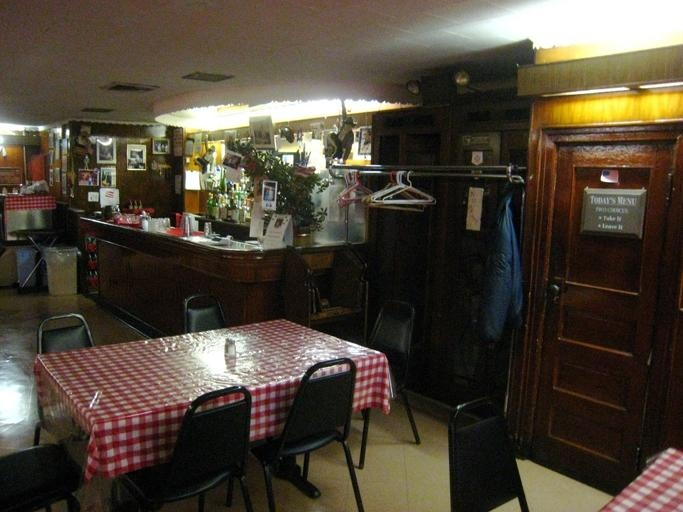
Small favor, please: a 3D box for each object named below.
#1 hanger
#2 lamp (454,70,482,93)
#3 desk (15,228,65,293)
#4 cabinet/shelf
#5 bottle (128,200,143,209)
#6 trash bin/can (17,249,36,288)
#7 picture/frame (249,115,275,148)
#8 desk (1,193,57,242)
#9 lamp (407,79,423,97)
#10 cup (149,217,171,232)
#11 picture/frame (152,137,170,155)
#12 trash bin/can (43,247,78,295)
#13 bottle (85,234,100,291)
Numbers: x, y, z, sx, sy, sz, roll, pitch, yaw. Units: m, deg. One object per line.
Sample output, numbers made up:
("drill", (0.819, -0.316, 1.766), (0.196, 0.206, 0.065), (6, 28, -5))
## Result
("hanger", (0.489, -0.529, 4.773), (0.696, 0.255, 0.488), (0, 5, -32))
("lamp", (1.062, -1.486, 4.485), (0.214, 0.178, 0.110), (8, 13, 23))
("desk", (-5.563, 0.119, 9.303), (1.062, 1.176, 0.980), (4, -1, -41))
("cabinet/shelf", (-0.180, 0.357, 5.033), (0.928, 1.317, 0.652), (-3, 5, -35))
("bottle", (-3.689, -0.916, 9.345), (0.187, 0.174, 0.253), (0, 2, 44))
("trash bin/can", (-5.429, 0.185, 9.056), (0.281, 0.638, 0.201), (-5, 14, -31))
("picture/frame", (-0.883, -1.357, 5.818), (0.377, 0.356, 0.039), (7, 21, 37))
("desk", (-5.592, -0.648, 9.508), (0.840, 0.754, 0.843), (0, 2, -13))
("lamp", (0.705, -1.615, 5.037), (0.129, 0.132, 0.031), (3, 20, 39))
("cup", (-2.429, -0.406, 6.965), (0.187, 0.253, 0.243), (1, -4, 19))
("picture/frame", (-3.326, -2.011, 9.572), (0.289, 0.263, 0.021), (-11, 10, -41))
("trash bin/can", (-4.800, 0.227, 9.033), (0.535, 0.806, 0.530), (2, 8, -6))
("bottle", (-4.153, 0.141, 8.686), (0.112, 0.949, 0.467), (-8, 16, -40))
